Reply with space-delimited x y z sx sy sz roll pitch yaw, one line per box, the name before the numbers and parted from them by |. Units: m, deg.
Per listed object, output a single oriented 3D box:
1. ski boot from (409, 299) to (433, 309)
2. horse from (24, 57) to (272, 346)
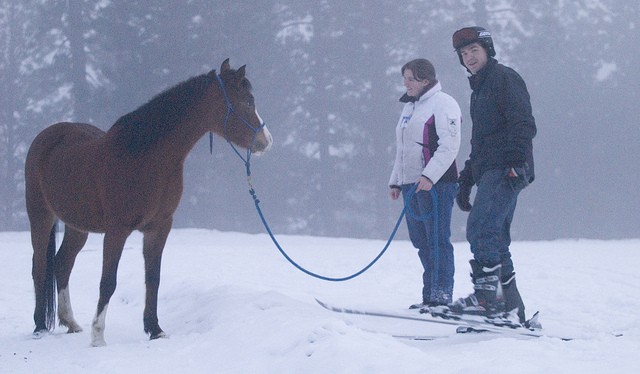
ski boot | 1.652 1.904 15.679 0.368 0.234 0.118 9 -15 -10
horse | -2.943 0.276 15.439 3.468 4.380 0.962 -5 -7 19
